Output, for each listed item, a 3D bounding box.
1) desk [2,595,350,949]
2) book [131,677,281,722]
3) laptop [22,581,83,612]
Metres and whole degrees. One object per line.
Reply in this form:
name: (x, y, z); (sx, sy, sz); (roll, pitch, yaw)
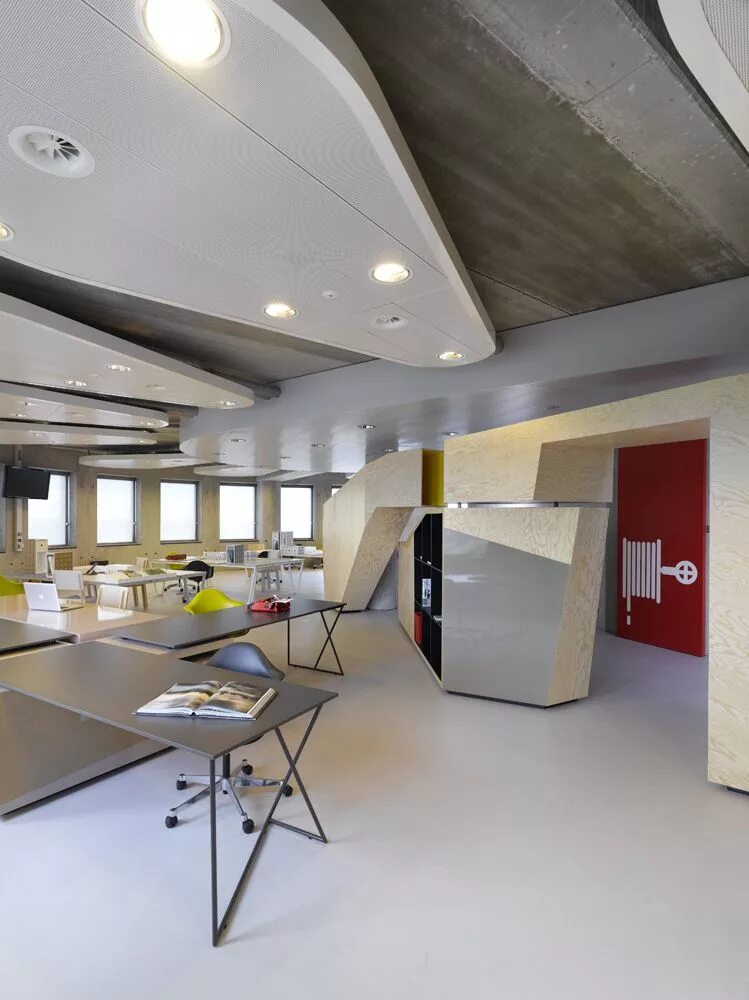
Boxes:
desk: (-0.959, 1.196, 3.244); (1.656, 0.772, 1.230); (3, 2, 31)
book: (-0.698, 0.849, 2.892); (0.494, 0.046, 0.531); (2, 2, 4)
laptop: (-2.379, 0.741, 5.055); (0.366, 0.228, 0.333); (1, -4, 26)
